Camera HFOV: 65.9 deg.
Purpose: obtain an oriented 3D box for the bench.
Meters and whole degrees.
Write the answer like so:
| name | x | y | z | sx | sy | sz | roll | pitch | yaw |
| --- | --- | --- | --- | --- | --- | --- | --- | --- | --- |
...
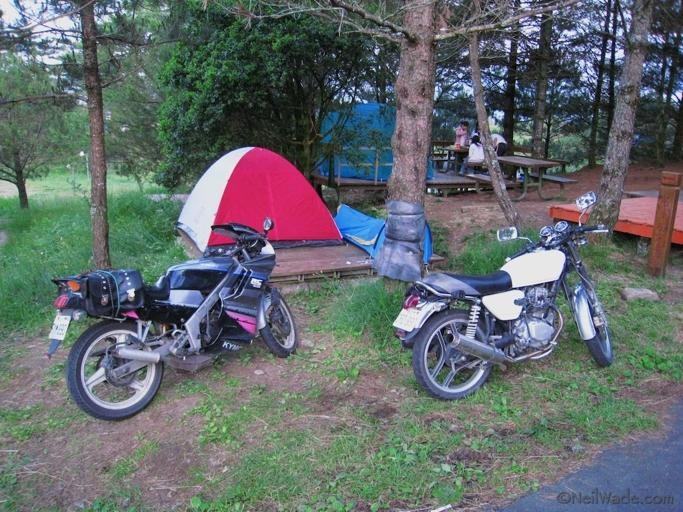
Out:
| name | x | y | z | sx | sy | sz | roll | pitch | yaw |
| --- | --- | --- | --- | --- | --- | --- | --- | --- | --- |
| bench | 4.753 | -1.886 | 13.627 | 1.367 | 0.538 | 1.691 | -1 | 13 | -10 |

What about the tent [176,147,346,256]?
| name | x | y | z | sx | sy | sz | roll | pitch | yaw |
| --- | --- | --- | --- | --- | --- | --- | --- | --- | --- |
| tent | -1.385 | -1.006 | 9.015 | 1.862 | 1.299 | 1.990 | -4 | 16 | -13 |

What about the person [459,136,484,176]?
| name | x | y | z | sx | sy | sz | roll | pitch | yaw |
| --- | --- | --- | --- | --- | --- | --- | --- | --- | --- |
| person | 3.748 | -2.917 | 15.131 | 0.611 | 1.116 | 1.392 | 3 | 14 | 12 |

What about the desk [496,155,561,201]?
| name | x | y | z | sx | sy | sz | roll | pitch | yaw |
| --- | --- | --- | --- | --- | --- | --- | --- | --- | --- |
| desk | 4.797 | -2.100 | 13.992 | 0.919 | 0.937 | 1.812 | 1 | 16 | -5 |

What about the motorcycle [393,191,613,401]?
| name | x | y | z | sx | sy | sz | roll | pitch | yaw |
| --- | --- | --- | --- | --- | --- | --- | --- | --- | --- |
| motorcycle | 1.799 | 0.419 | 5.270 | 2.466 | 1.853 | 0.989 | -8 | 8 | -18 |
